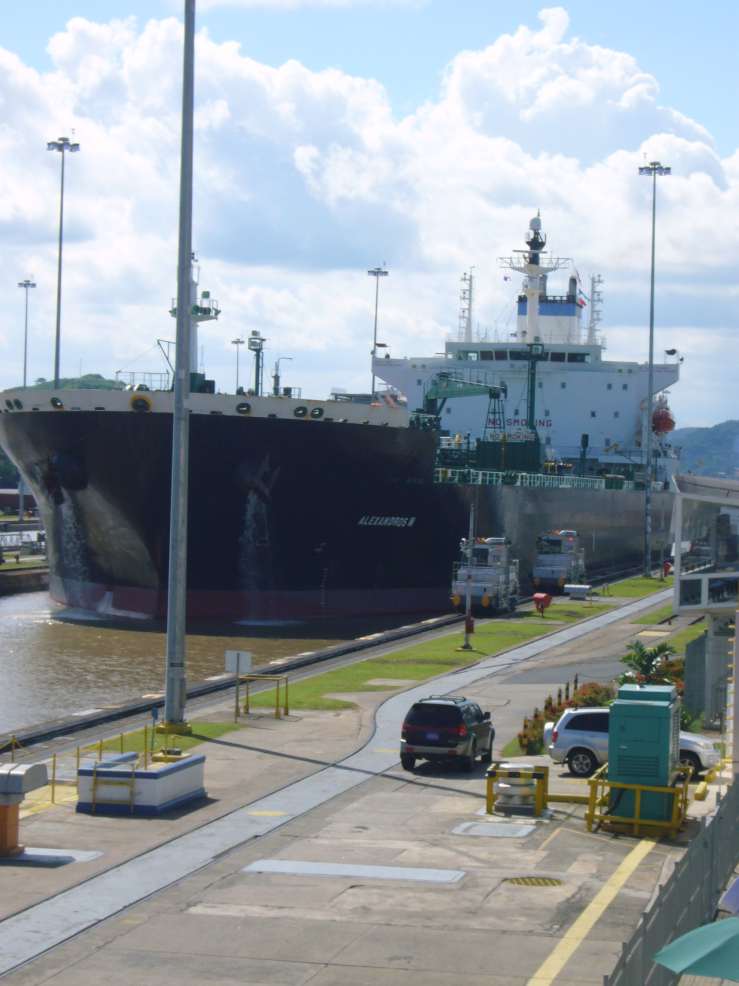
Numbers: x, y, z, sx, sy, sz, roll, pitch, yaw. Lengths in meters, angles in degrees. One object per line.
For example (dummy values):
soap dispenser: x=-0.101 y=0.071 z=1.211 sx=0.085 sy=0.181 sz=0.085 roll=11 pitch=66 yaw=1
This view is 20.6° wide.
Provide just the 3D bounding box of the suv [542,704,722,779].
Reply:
suv: x=3.647 y=3.551 z=28.755 sx=2.150 sy=0.979 sz=1.023 roll=-3 pitch=1 yaw=11

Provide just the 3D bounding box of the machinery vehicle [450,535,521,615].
machinery vehicle: x=2.717 y=2.187 z=52.214 sx=1.739 sy=1.879 sz=1.701 roll=-3 pitch=5 yaw=25
